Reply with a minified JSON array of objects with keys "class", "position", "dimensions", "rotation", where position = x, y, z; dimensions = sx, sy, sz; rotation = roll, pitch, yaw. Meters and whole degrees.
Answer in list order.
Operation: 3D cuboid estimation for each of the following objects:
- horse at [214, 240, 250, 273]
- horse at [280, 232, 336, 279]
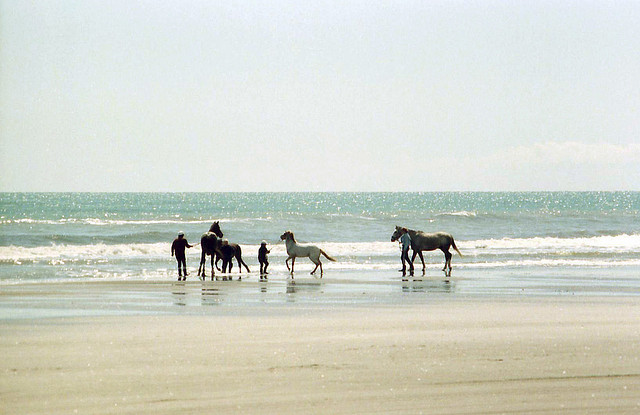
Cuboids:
[{"class":"horse","position":[-3.548,1.883,37.048],"dimensions":[0.748,1.444,2.853],"rotation":[1,-5,20]},{"class":"horse","position":[-0.495,1.811,36.119],"dimensions":[2.348,1.568,0.470],"rotation":[4,-1,17]}]
